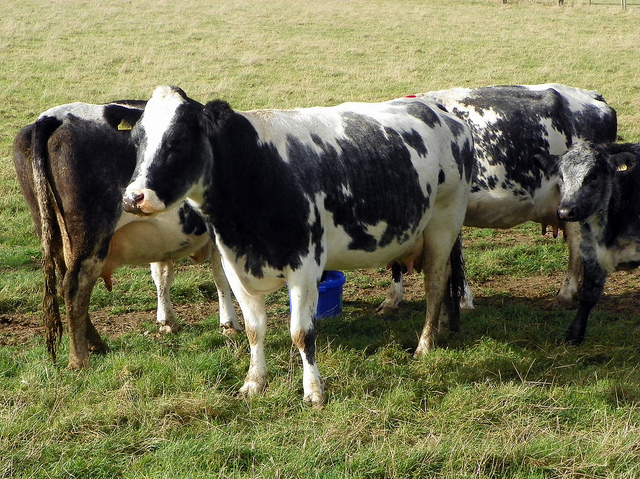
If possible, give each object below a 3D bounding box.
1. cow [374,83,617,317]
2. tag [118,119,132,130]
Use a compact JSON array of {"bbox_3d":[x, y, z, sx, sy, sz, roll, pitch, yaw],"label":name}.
[{"bbox_3d":[2.285,-0.669,14.108,4.774,3.239,1.876,-2,4,-17],"label":"cow"},{"bbox_3d":[-2.246,-1.322,10.620,0.117,0.113,0.032,-1,-3,17],"label":"tag"}]
